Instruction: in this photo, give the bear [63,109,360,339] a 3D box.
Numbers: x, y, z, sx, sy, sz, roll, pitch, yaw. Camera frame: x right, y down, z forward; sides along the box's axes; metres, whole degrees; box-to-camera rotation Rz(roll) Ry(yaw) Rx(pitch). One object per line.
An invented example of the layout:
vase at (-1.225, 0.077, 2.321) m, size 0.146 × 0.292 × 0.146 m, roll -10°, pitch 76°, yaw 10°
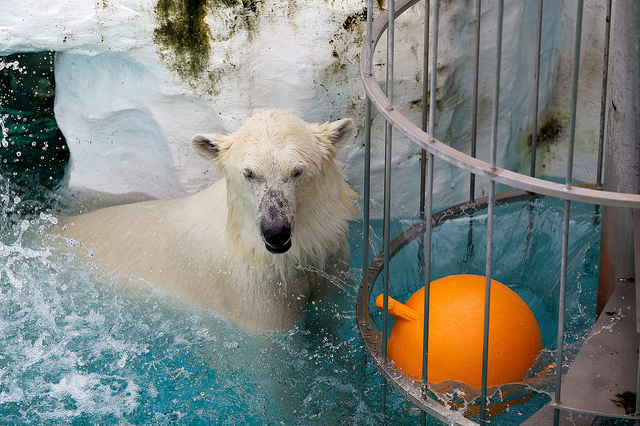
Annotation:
bear at (-1.124, -0.035, 7.396) m, size 3.084 × 1.623 × 1.261 m, roll 4°, pitch 27°, yaw 43°
